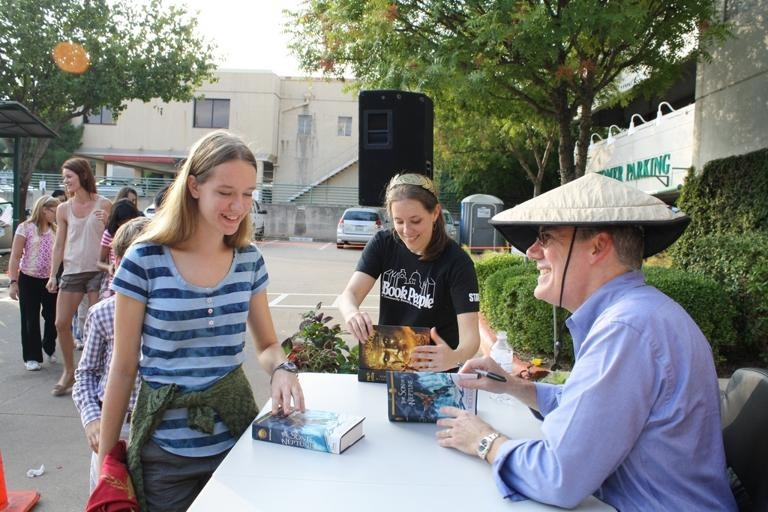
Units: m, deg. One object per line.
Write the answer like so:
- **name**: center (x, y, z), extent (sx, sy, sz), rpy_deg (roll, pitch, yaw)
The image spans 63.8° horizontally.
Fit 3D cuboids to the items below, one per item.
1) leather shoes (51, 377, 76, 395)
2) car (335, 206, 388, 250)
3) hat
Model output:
- **leather shoes**: center (-3.567, 1.453, 6.870), extent (0.207, 0.156, 0.220), rpy_deg (1, 5, -25)
- **car**: center (-0.969, -0.931, 21.532), extent (1.417, 1.288, 2.618), rpy_deg (0, 8, 4)
- **hat**: center (1.223, -0.253, 3.639), extent (0.835, 0.289, 0.633), rpy_deg (2, -8, 13)
